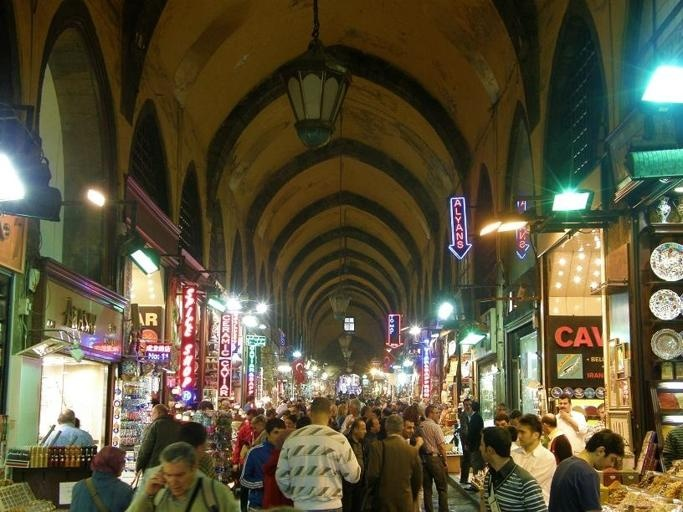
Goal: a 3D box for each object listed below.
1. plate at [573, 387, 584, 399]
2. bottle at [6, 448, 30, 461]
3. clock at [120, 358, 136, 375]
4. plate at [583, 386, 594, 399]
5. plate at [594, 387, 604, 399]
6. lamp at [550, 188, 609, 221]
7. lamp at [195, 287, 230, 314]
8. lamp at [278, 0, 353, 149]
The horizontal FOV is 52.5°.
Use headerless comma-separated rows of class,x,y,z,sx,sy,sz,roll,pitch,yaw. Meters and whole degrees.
plate,5.027,2.896,14.597,0.188,0.222,0.060,-1,8,-19
bottle,-4.222,2.619,9.065,0.198,0.151,0.221,4,-8,-6
clock,-4.429,2.312,14.515,0.101,0.355,0.431,-8,-20,20
plate,5.261,2.902,14.677,0.219,0.257,0.076,-7,11,-22
plate,5.528,2.918,14.837,0.225,0.261,0.060,-6,10,-30
lamp,3.790,-0.801,11.051,0.825,0.574,0.568,-11,-21,24
lamp,-3.808,1.186,20.124,0.194,0.742,0.749,-17,-20,32
lamp,-0.352,-2.684,9.830,0.931,2.637,1.300,-1,-17,-2
